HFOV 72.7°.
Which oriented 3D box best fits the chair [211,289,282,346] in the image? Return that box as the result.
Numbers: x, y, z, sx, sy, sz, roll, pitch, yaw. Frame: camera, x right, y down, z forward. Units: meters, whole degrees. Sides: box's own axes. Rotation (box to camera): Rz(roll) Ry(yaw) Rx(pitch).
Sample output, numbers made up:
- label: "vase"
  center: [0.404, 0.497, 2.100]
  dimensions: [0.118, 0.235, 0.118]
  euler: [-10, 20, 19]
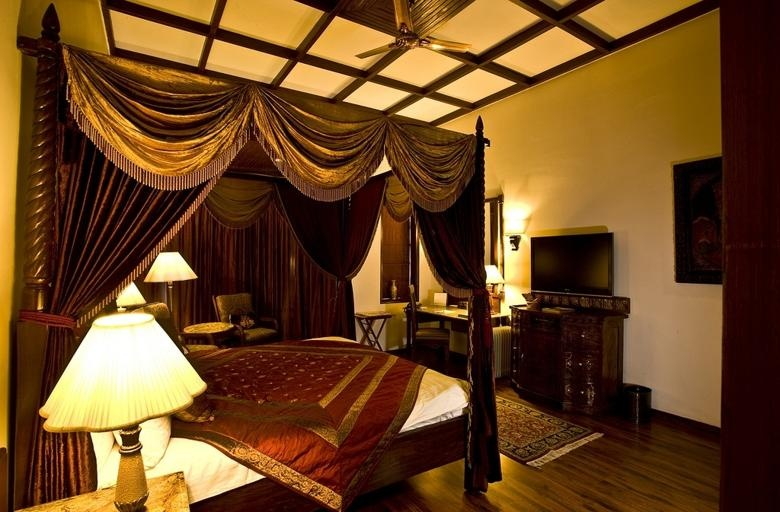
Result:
- label: "chair"
  center: [-1.915, 0.994, 7.253]
  dimensions: [0.751, 0.966, 0.764]
  euler: [0, 7, 24]

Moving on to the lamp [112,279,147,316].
- label: "lamp"
  center: [-2.197, 0.356, 4.494]
  dimensions: [0.292, 0.322, 0.298]
  euler: [-8, -9, 13]

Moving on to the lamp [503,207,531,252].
- label: "lamp"
  center: [1.723, -0.322, 7.294]
  dimensions: [0.281, 0.402, 0.290]
  euler: [6, -6, -18]

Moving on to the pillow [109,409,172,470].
- label: "pillow"
  center: [-1.740, 1.300, 3.818]
  dimensions: [0.128, 0.457, 0.448]
  euler: [-6, -7, 36]

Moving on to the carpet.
- label: "carpet"
  center: [1.622, 1.856, 5.549]
  dimensions: [0.949, 0.084, 1.376]
  euler: [1, 12, 9]

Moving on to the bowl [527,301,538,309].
- label: "bowl"
  center: [1.767, 0.614, 6.598]
  dimensions: [0.092, 0.084, 0.076]
  euler: [-6, -3, 36]

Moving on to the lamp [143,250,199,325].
- label: "lamp"
  center: [-2.602, 0.349, 6.259]
  dimensions: [0.459, 0.747, 0.440]
  euler: [0, 16, -34]

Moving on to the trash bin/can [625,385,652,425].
- label: "trash bin/can"
  center: [2.724, 1.639, 5.836]
  dimensions: [0.278, 0.327, 0.275]
  euler: [-2, 4, -13]

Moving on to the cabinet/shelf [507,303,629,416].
- label: "cabinet/shelf"
  center: [2.066, 1.198, 6.443]
  dimensions: [0.762, 1.104, 1.295]
  euler: [-1, 3, -32]

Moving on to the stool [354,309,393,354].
- label: "stool"
  center: [-0.317, 1.195, 8.154]
  dimensions: [0.534, 0.544, 0.432]
  euler: [5, -4, -18]

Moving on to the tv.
- label: "tv"
  center: [2.197, 0.104, 6.489]
  dimensions: [1.000, 0.736, 0.075]
  euler: [0, 0, 39]

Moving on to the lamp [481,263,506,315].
- label: "lamp"
  center: [1.396, 0.461, 7.372]
  dimensions: [0.394, 0.696, 0.412]
  euler: [0, -1, 6]
